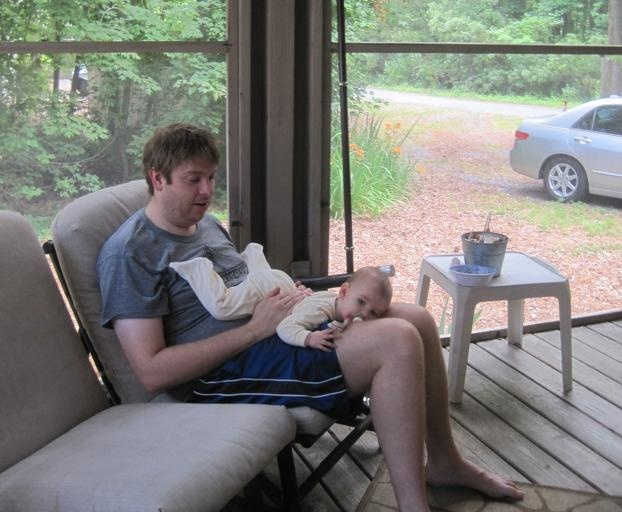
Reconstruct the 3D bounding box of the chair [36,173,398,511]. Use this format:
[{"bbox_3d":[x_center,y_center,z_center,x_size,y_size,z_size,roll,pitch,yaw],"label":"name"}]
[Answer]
[{"bbox_3d":[-0.334,0.191,2.012,1.120,0.955,0.806,6,13,30],"label":"chair"}]
